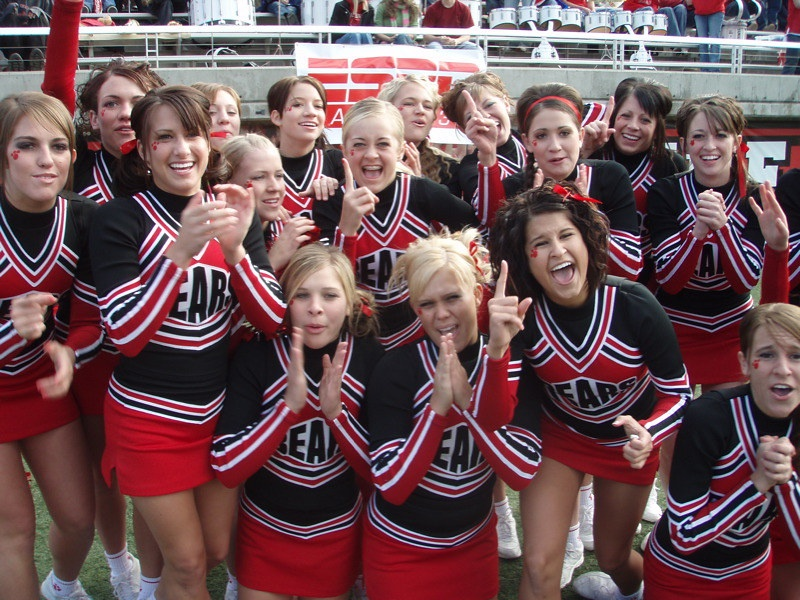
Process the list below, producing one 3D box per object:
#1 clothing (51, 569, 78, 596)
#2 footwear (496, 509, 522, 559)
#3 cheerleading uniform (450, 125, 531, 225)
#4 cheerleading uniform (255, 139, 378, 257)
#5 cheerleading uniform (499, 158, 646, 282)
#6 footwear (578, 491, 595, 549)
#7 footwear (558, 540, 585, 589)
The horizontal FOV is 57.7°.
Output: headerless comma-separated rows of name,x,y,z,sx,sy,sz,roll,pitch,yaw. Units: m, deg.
clothing,-1.722,1.483,3.738,0.117,0.127,0.123,3,0,28
footwear,0.626,1.338,4.128,0.149,0.274,0.188,3,9,3
cheerleading uniform,0.524,-0.750,4.329,0.437,0.622,0.189,0,-36,23
cheerleading uniform,-0.511,-0.516,3.867,0.569,0.606,0.834,-1,10,-24
cheerleading uniform,1.178,-0.487,4.129,0.686,0.748,0.274,-1,-8,9
footwear,1.085,1.271,4.234,0.087,0.363,0.123,4,9,6
footwear,0.950,1.438,3.991,0.114,0.174,0.356,2,7,28
